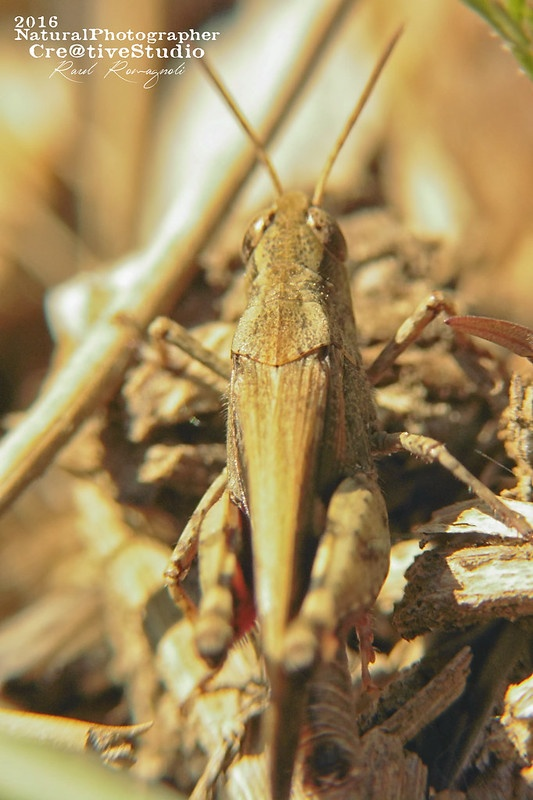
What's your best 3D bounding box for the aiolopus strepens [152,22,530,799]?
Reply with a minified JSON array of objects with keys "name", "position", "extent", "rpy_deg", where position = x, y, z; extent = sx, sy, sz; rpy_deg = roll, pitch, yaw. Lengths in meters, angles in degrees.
[{"name":"aiolopus strepens","position":[0.087,0.033,2.216],"extent":[0.832,1.552,1.017],"rpy_deg":[-3,2,0]}]
